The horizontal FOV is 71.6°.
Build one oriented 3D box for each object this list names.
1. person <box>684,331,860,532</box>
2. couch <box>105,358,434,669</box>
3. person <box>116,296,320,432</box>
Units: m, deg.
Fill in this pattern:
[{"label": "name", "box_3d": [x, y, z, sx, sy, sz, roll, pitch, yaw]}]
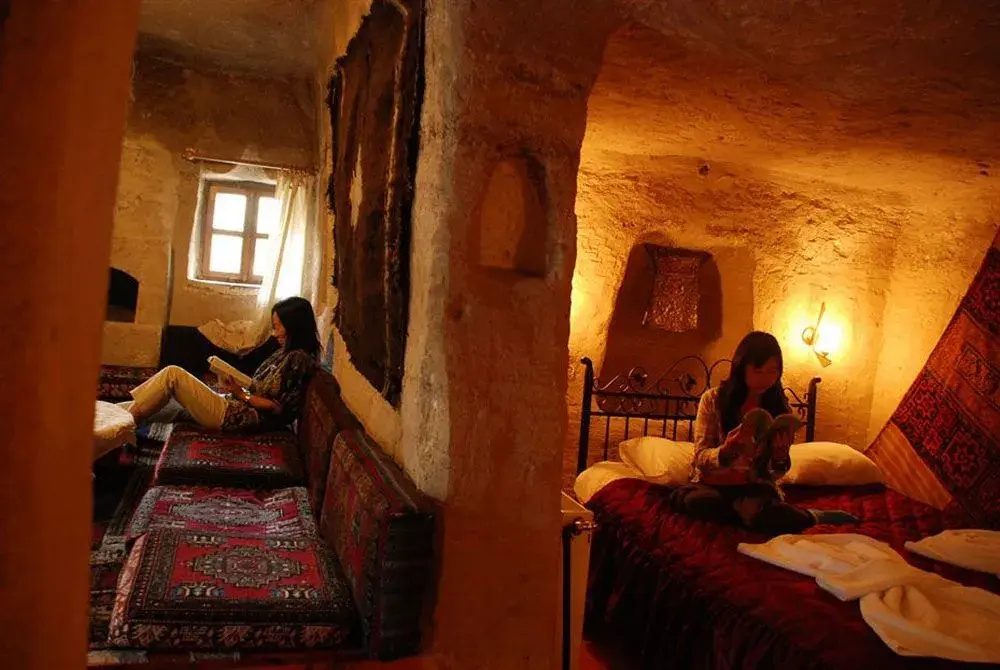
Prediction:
[{"label": "person", "box_3d": [1.144, 0.425, 3.146, 0.611, 0.860, 0.835, 5, -1, -19]}, {"label": "couch", "box_3d": [-0.599, 0.378, 1.863, 0.557, 0.271, 1.178, 10, 11, -17]}, {"label": "person", "box_3d": [-1.564, 0.168, 3.708, 1.152, 0.654, 0.488, 0, 12, -16]}]
